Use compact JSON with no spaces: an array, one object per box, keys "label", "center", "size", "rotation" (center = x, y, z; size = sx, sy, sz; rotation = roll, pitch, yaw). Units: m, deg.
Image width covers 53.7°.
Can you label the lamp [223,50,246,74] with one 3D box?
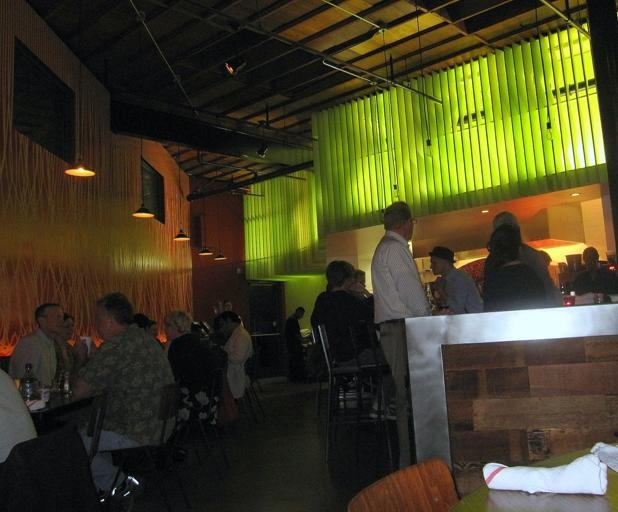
[{"label":"lamp","center":[-1.051,-2.750,8.810],"size":[0.155,0.322,0.422],"rotation":[-3,-11,-46]}]

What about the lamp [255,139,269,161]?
[{"label":"lamp","center":[-0.834,-1.993,11.399],"size":[0.185,0.352,0.520],"rotation":[-6,-6,13]}]

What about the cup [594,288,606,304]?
[{"label":"cup","center":[1.934,0.260,4.036],"size":[0.076,0.106,0.036],"rotation":[16,-30,-27]}]
